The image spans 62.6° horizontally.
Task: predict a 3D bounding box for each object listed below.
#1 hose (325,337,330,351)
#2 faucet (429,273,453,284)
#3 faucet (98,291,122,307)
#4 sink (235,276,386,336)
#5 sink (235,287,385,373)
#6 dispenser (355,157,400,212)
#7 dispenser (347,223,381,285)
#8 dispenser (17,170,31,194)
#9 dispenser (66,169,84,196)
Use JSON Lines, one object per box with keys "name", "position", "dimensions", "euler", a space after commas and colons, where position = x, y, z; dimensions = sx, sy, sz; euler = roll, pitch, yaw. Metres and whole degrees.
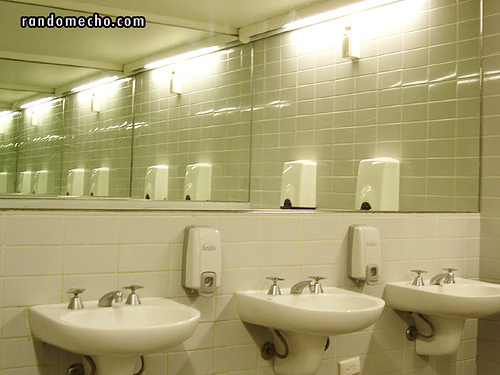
{"name": "hose", "position": [0.429, 0.870, 2.280], "dimensions": [0.009, 0.043, 0.040], "euler": [10, 12, 25]}
{"name": "faucet", "position": [1.146, 0.546, 2.491], "dimensions": [0.166, 0.063, 0.056], "euler": [-4, -7, -14]}
{"name": "faucet", "position": [-0.591, 0.467, 1.742], "dimensions": [0.100, 0.065, 0.052], "euler": [0, 0, -21]}
{"name": "sink", "position": [0.302, 0.596, 2.016], "dimensions": [0.607, 0.290, 0.518], "euler": [0, -1, -27]}
{"name": "sink", "position": [0.267, 0.640, 1.981], "dimensions": [0.553, 0.345, 0.493], "euler": [7, -12, -32]}
{"name": "dispenser", "position": [0.836, 0.001, 2.722], "dimensions": [0.253, 0.374, 0.252], "euler": [4, -12, 23]}
{"name": "dispenser", "position": [0.677, 0.394, 2.423], "dimensions": [0.187, 0.330, 0.160], "euler": [4, -4, -31]}
{"name": "dispenser", "position": [-0.964, -0.025, 1.754], "dimensions": [0.049, 0.093, 0.016], "euler": [0, -1, -32]}
{"name": "dispenser", "position": [-0.782, -0.024, 1.842], "dimensions": [0.071, 0.119, 0.026], "euler": [0, -1, -15]}
